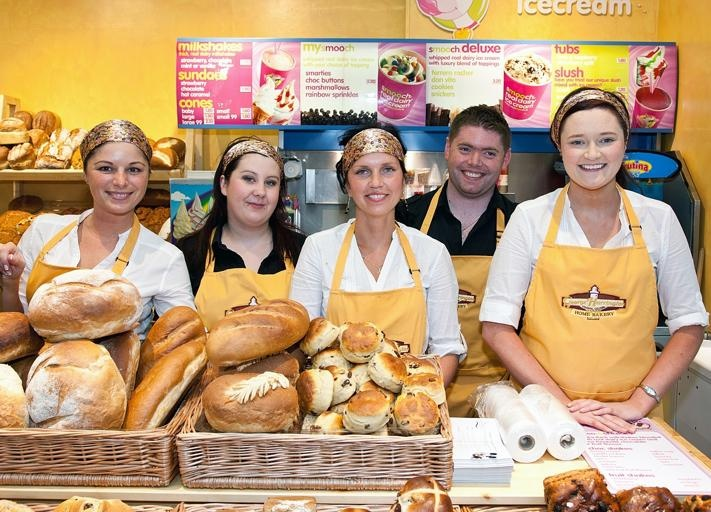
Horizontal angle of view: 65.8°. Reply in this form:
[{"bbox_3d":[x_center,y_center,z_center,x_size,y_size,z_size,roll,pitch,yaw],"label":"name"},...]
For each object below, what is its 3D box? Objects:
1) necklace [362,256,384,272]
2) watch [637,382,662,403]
[{"bbox_3d":[0.086,0.032,2.446,0.076,0.075,0.019,-6,-7,-4],"label":"necklace"},{"bbox_3d":[1.127,0.520,2.099,0.065,0.019,0.065,34,13,-42],"label":"watch"}]
